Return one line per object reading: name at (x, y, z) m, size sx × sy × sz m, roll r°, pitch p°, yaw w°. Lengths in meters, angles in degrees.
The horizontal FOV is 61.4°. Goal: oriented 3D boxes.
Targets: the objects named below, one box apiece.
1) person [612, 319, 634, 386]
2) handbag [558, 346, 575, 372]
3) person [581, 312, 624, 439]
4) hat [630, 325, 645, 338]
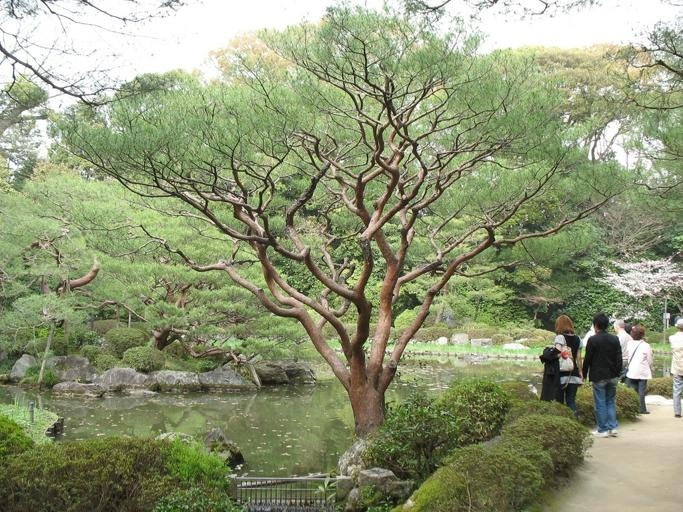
person at (4.890, 1.829, 10.195) m, size 0.420 × 1.438 × 0.390 m, roll 3°, pitch 13°, yaw 27°
handbag at (3.245, 1.506, 8.328) m, size 0.199 × 0.395 × 0.220 m, roll -5°, pitch -1°, yaw 20°
person at (3.795, 1.780, 8.344) m, size 0.526 × 1.932 × 0.813 m, roll -5°, pitch -1°, yaw 26°
hat at (5.197, 1.337, 10.049) m, size 0.236 × 0.260 × 0.198 m, roll 2°, pitch 4°, yaw 19°
